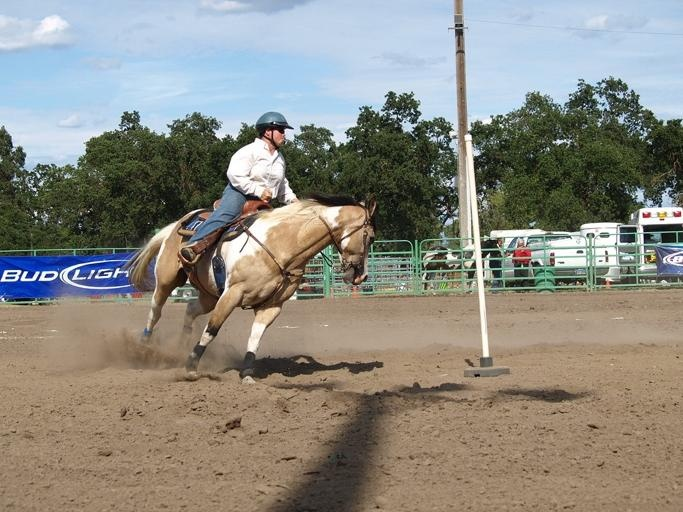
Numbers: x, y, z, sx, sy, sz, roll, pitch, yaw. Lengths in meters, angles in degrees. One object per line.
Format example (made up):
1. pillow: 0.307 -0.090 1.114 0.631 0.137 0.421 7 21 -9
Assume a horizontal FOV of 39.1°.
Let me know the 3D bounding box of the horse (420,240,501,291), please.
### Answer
1. horse: 3.489 0.231 27.696 2.222 1.391 3.550 -2 2 11

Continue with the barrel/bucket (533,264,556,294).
1. barrel/bucket: 5.696 0.635 26.831 0.590 0.711 0.636 -2 2 0

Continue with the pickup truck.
1. pickup truck: 6.235 0.036 27.395 2.818 1.219 1.617 1 -2 3

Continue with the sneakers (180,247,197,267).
1. sneakers: -2.021 -0.001 12.651 0.355 0.276 0.172 -1 2 42

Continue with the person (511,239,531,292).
1. person: 5.082 0.180 26.935 0.507 1.350 1.518 -2 2 11
